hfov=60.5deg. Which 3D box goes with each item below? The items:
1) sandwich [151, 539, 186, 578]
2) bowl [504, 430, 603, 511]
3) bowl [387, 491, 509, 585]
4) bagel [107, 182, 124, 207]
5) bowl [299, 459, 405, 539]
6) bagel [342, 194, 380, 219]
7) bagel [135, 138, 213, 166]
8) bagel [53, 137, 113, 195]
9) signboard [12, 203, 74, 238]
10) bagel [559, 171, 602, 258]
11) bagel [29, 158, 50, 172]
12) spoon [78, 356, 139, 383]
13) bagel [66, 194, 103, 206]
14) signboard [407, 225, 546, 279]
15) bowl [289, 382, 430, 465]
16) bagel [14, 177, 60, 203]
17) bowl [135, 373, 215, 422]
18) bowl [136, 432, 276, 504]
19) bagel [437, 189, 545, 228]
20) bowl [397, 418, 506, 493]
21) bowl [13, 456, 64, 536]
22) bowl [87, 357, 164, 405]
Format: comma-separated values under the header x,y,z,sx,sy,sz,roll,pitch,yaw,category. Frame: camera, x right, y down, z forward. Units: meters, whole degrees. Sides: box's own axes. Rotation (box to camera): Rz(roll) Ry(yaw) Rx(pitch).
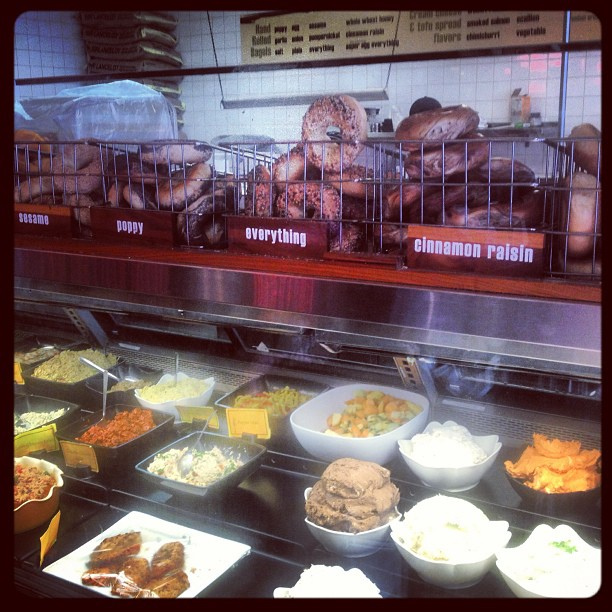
x,y,z,sx,sy,sz,roll,pitch,yaw,category
-0.299,0.547,1.164,0.072,0.028,0.102,-20,2,-17,sandwich
0.532,0.369,1.139,0.184,0.116,0.157,6,17,30,bowl
0.288,0.481,1.064,0.201,0.090,0.196,-3,15,1,bowl
-0.528,-0.305,1.468,0.036,0.076,0.024,10,4,12,bagel
0.112,0.425,1.192,0.213,0.126,0.231,-4,4,0,bowl
0.122,-0.220,1.163,0.082,0.055,0.043,-1,14,6,bagel
-0.366,-0.416,1.417,0.242,0.075,0.071,6,17,29,bagel
-0.638,-0.399,1.497,0.179,0.157,0.082,2,15,17,bagel
-0.734,-0.240,1.466,0.212,0.095,0.049,5,16,26,signboard
0.478,-0.156,0.932,0.049,0.150,0.064,3,2,-25,bagel
-0.776,-0.410,1.535,0.052,0.057,0.015,-1,-11,6,bagel
-0.700,0.227,1.853,0.107,0.019,0.025,34,35,-10,spoon
-0.626,-0.294,1.461,0.119,0.029,0.072,-2,15,4,bagel
0.322,-0.131,0.976,0.262,0.097,0.157,10,19,41,signboard
0.134,0.291,1.356,0.242,0.094,0.221,-3,16,1,bowl
-0.789,-0.345,1.531,0.112,0.117,0.038,-5,-8,5,bagel
-0.429,0.292,1.692,0.255,0.095,0.170,5,17,26,bowl
-0.266,0.419,1.392,0.311,0.077,0.245,4,17,24,bowl
0.355,-0.185,1.009,0.199,0.067,0.105,2,16,18,bagel
0.332,0.365,1.252,0.187,0.110,0.197,-3,15,1,bowl
-0.651,0.438,1.267,0.108,0.041,0.115,3,33,-2,bowl
-0.622,0.256,1.814,0.159,0.067,0.150,-9,20,3,bowl
